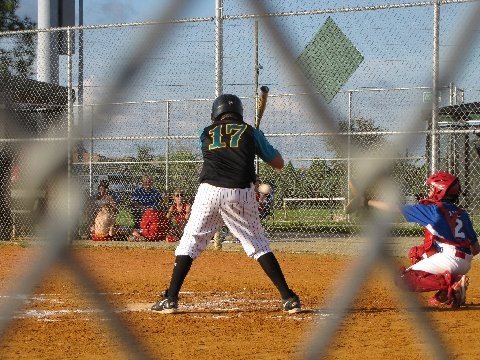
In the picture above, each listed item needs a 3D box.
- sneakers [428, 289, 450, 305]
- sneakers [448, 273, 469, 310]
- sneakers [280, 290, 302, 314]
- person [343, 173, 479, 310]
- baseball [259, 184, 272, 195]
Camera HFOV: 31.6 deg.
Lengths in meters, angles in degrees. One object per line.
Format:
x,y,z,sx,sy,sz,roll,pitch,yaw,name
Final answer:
2.032,1.184,8.549,0.222,0.176,0.084,0,1,37,sneakers
2.216,1.110,8.419,0.166,0.410,0.131,-1,3,13,sneakers
0.518,1.185,8.196,0.160,0.210,0.202,0,-3,-4,sneakers
2.022,0.606,8.415,0.910,1.354,0.468,0,5,-16,person
0.375,0.138,11.547,0.135,0.084,0.145,-1,34,0,baseball
